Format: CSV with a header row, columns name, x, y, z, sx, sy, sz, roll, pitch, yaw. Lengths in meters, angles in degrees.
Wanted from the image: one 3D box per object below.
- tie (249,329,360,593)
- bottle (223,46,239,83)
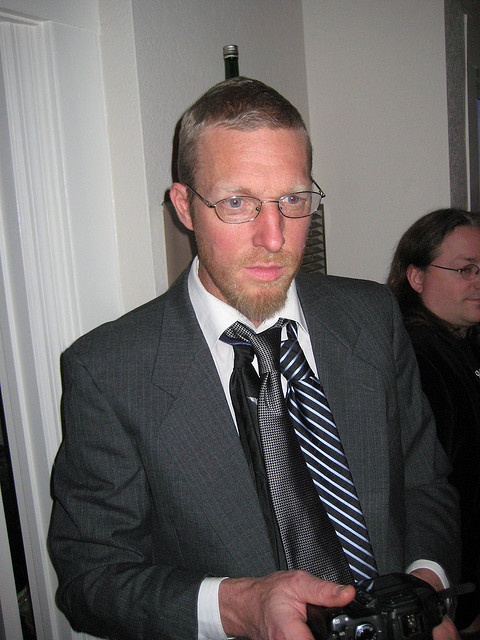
name,x,y,z,sx,sy,sz,roll,pitch,yaw
tie,0.095,0.229,1.034,0.116,0.391,0.235,-7,10,-10
bottle,-0.023,-0.718,1.668,0.036,0.079,0.116,-5,10,-1
